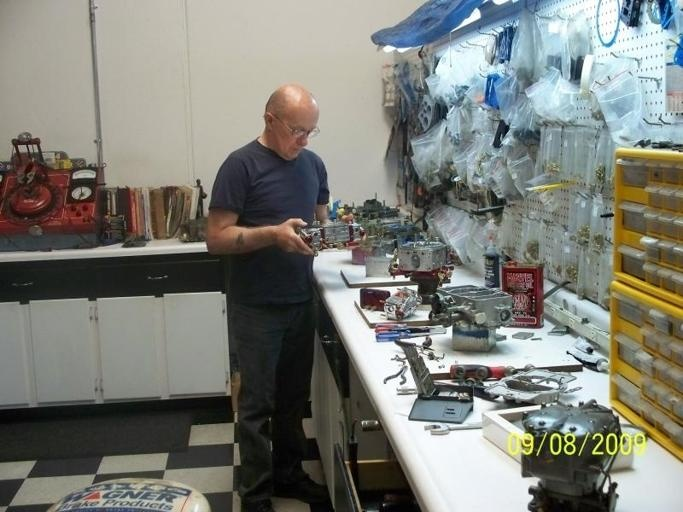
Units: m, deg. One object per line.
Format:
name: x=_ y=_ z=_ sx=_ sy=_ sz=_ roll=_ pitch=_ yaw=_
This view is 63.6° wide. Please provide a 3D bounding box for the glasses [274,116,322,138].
glasses: x=-0.223 y=-0.573 z=2.420 sx=0.122 sy=0.037 sz=0.119 roll=47 pitch=32 yaw=20
